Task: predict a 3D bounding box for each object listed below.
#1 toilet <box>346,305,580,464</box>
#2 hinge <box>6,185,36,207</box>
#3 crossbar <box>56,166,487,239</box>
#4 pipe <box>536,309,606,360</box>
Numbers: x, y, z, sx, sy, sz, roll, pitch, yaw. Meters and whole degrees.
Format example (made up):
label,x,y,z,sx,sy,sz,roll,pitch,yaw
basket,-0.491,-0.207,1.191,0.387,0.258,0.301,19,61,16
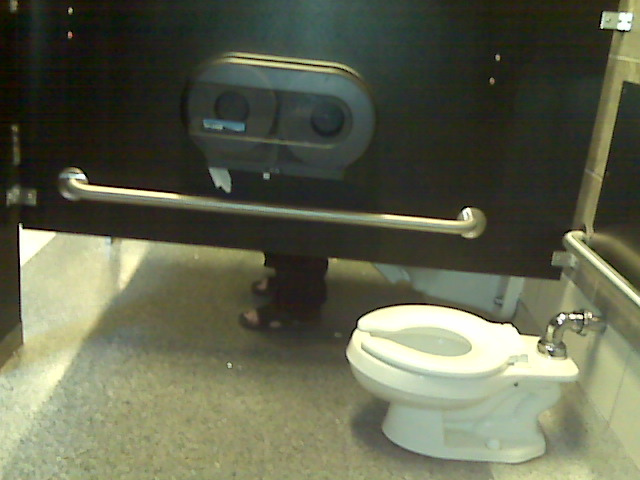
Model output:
label,x,y,z,sx,sy,sz,roll,pitch,yaw
toilet,0.389,0.459,1.744,0.676,0.319,0.412,4,33,1
hinge,-0.868,-0.133,1.626,0.097,0.057,0.020,1,14,12
crossbar,-0.141,-0.097,1.552,1.229,0.156,0.059,3,24,1
pipe,0.728,0.287,1.714,0.219,0.145,0.116,-5,21,-2
